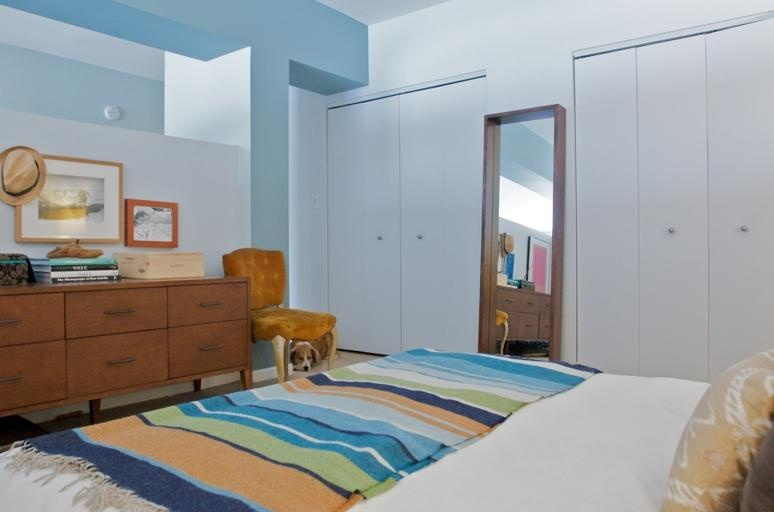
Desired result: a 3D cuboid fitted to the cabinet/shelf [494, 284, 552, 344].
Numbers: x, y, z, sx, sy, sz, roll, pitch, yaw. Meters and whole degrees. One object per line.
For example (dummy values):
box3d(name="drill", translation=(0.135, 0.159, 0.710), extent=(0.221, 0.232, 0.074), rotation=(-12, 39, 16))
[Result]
box3d(name="cabinet/shelf", translation=(1.146, 0.485, 4.248), extent=(0.495, 0.417, 0.194), rotation=(-2, -5, 37))

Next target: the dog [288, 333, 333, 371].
box3d(name="dog", translation=(-0.737, 0.924, 4.934), extent=(0.275, 0.219, 0.582), rotation=(-8, 4, 5))

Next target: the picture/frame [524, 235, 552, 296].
box3d(name="picture/frame", translation=(1.242, 0.072, 4.214), extent=(0.202, 0.463, 0.024), rotation=(0, -1, 32))

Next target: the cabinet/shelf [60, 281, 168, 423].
box3d(name="cabinet/shelf", translation=(-1.611, 0.572, 3.245), extent=(0.521, 0.694, 0.710), rotation=(-4, -3, 39))

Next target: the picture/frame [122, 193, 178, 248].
box3d(name="picture/frame", translation=(-1.747, -0.258, 3.775), extent=(0.028, 0.398, 0.413), rotation=(2, 1, 41))

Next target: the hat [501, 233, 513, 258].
box3d(name="hat", translation=(1.019, -0.096, 4.375), extent=(0.120, 0.171, 0.039), rotation=(3, 3, 45))

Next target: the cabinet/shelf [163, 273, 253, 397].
box3d(name="cabinet/shelf", translation=(-1.293, 0.533, 3.799), extent=(0.592, 0.883, 0.754), rotation=(-2, -2, 42))

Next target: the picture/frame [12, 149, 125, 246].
box3d(name="picture/frame", translation=(-2.142, -0.391, 3.424), extent=(0.050, 0.643, 0.680), rotation=(-1, -1, 43))
